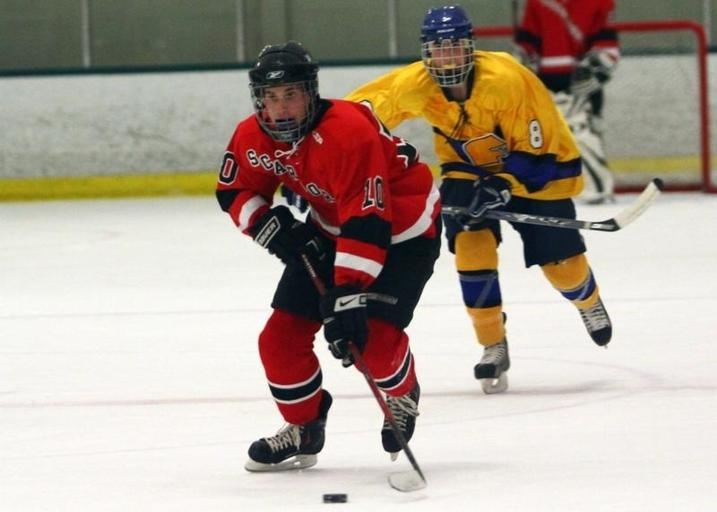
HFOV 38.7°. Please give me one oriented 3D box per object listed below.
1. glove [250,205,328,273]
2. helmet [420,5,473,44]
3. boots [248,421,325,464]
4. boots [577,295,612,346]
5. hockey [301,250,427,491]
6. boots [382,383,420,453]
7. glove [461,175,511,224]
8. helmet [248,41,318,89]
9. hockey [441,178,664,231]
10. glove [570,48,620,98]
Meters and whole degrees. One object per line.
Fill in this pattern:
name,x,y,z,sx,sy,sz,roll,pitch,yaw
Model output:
glove,-0.255,-0.064,3.715,0.256,0.212,0.110,39,6,7
helmet,0.385,-1.021,4.493,0.225,0.159,0.251,-1,12,5
boots,-0.248,0.670,3.691,0.322,0.159,0.114,3,8,-15
boots,1.079,0.309,4.684,0.090,0.249,0.116,-32,-21,24
hockey,0.002,0.371,3.769,0.241,0.055,1.088,1,39,-29
boots,0.157,0.586,3.723,0.096,0.274,0.125,-7,-34,33
glove,0.590,-0.234,4.487,0.163,0.238,0.102,47,-4,34
helmet,-0.249,-0.676,3.635,0.192,0.169,0.208,0,16,15
hockey,0.821,-0.198,4.934,0.138,0.249,1.382,23,-15,-40
glove,1.829,-1.426,8.171,0.411,0.271,0.702,2,-2,0
